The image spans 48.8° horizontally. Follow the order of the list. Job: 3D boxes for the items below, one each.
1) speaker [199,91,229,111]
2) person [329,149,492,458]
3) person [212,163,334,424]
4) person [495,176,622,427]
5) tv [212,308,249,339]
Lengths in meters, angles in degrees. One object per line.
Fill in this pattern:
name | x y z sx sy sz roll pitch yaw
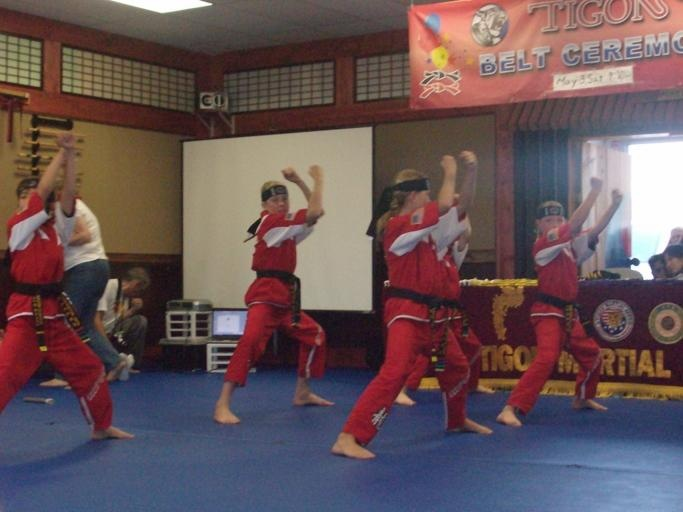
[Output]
speaker | -1.552 -1.857 9.043 0.338 0.203 0.151 0 5 -7
person | 0.435 0.292 4.622 1.043 1.841 0.516 -3 6 -35
person | -0.509 0.275 5.672 0.876 1.864 0.840 0 5 -1
person | 1.593 0.323 5.503 0.680 1.764 1.042 4 6 38
tv | -1.142 0.695 7.655 0.403 0.288 0.222 -1 -18 4
